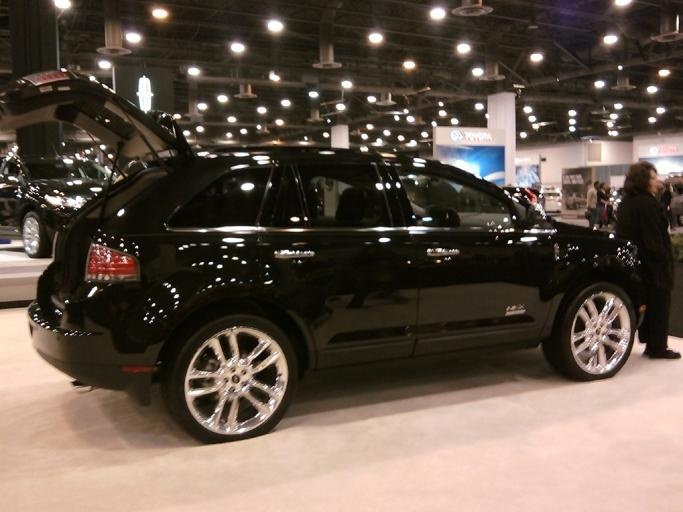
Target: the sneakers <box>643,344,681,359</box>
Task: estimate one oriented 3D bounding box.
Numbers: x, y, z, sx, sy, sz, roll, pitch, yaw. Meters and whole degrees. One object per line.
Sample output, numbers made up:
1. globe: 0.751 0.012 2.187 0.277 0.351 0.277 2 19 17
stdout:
1. sneakers: 3.098 0.926 4.881 0.336 0.135 0.125 -2 4 0
